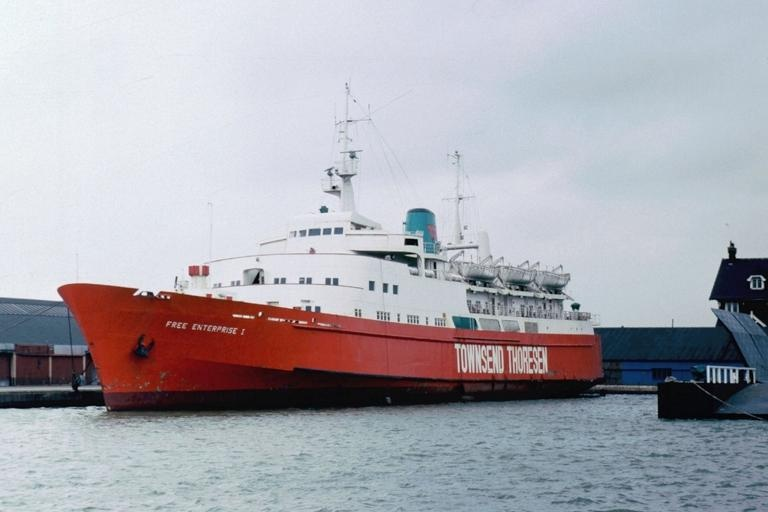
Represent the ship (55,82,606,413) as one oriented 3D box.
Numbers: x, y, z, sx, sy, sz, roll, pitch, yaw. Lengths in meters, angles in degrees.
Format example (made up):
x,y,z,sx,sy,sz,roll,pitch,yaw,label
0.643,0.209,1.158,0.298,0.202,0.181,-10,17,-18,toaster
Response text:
x,y,z,sx,sy,sz,roll,pitch,yaw,label
-0.652,1.896,44.160,27.982,11.219,7.238,7,-18,-39,ship
